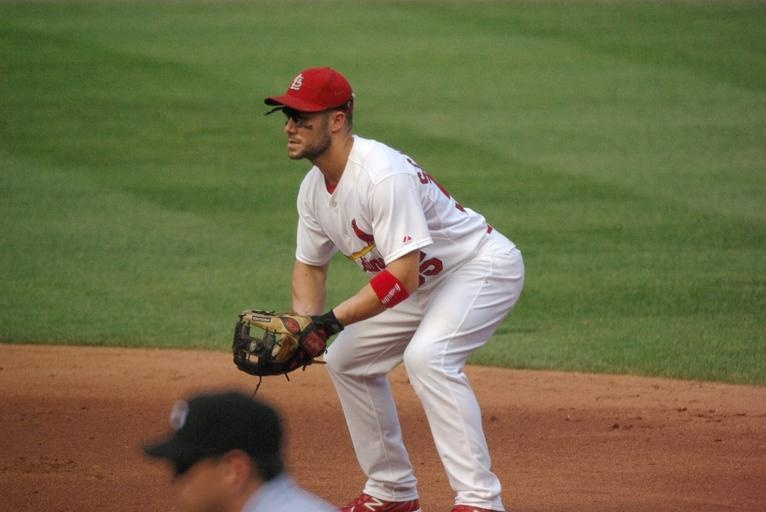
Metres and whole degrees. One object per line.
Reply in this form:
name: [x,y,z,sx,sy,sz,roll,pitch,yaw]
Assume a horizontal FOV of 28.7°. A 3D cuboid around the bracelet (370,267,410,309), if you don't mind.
bracelet: [0.020,0.308,13.624,0.326,0.326,0.260,-41,92,-23]
